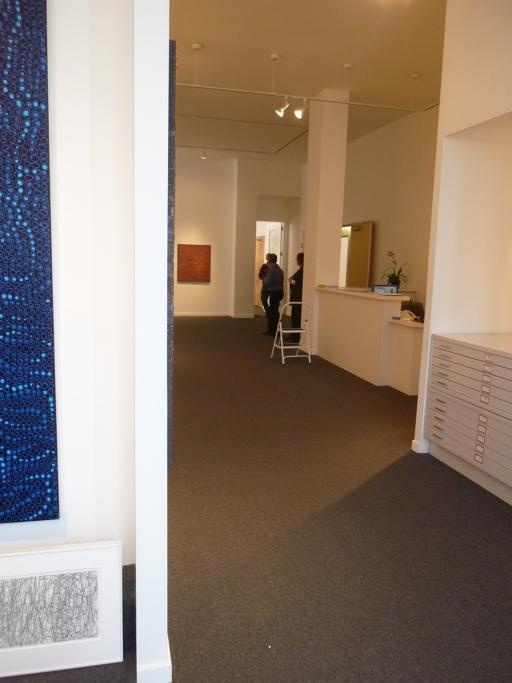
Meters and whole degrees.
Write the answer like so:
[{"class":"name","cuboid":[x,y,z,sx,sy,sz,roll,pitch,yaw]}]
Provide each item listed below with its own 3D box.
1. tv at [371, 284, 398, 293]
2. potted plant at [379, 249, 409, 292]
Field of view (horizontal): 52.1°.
[{"class":"tv","cuboid":[1.761,-0.685,6.959,0.401,0.092,0.328,-3,9,-28]},{"class":"potted plant","cuboid":[2.446,-1.252,9.241,0.414,0.654,1.028,3,8,11]}]
